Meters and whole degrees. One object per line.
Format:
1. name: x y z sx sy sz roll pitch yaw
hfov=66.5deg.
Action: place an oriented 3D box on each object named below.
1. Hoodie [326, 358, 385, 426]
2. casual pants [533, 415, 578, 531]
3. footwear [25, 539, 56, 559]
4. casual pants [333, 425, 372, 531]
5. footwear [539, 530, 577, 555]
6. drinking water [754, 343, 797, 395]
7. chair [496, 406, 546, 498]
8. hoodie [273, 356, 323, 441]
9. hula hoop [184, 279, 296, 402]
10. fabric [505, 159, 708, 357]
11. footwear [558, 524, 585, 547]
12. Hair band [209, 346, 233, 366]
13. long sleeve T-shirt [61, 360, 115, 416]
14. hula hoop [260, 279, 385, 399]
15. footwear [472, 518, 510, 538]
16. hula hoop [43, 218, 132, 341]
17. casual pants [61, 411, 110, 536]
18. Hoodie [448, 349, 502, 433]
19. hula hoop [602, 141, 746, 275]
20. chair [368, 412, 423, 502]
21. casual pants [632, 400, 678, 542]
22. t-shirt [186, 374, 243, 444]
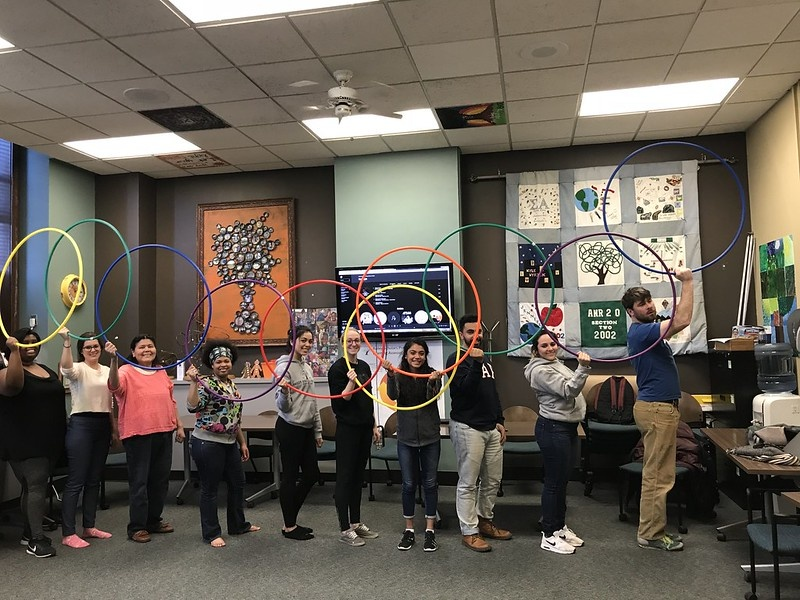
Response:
1. Hoodie: -0.379 0.774 5.196 0.321 0.610 0.525 -9 -8 33
2. casual pants: 1.268 1.417 4.954 0.327 0.982 0.298 -1 2 15
3. footwear: -3.015 2.089 5.168 0.308 0.126 0.111 1 -6 24
4. casual pants: -0.397 1.483 5.143 0.311 0.943 0.246 -3 3 -25
5. footwear: 1.271 1.970 4.957 0.265 0.124 0.124 1 0 13
6. drinking water: 3.345 0.591 5.460 0.306 0.404 0.761 0 3 31
7. chair: 1.297 1.540 6.266 0.650 0.935 0.692 -2 -16 18
8. hoodie: -0.866 0.864 5.247 0.429 0.783 0.394 -3 3 -29
9. hula hoop: -1.702 0.444 6.745 1.352 1.586 0.089 4 4 0
10. fabric: 2.327 -0.443 6.641 2.207 2.176 0.026 -2 -6 10
11. footwear: 1.408 1.927 5.031 0.178 0.060 0.136 9 4 40
12. Hair band: -1.492 0.466 5.156 0.140 0.158 0.191 4 -27 -21
13. long sleeve T-shirt: -2.742 0.777 5.404 0.213 0.353 0.661 -16 -15 11
14. hula hoop: -0.758 0.406 6.419 1.264 1.174 0.056 -17 -18 12
15. footwear: 0.785 1.952 5.229 0.353 0.153 0.122 -1 -4 4
16. hula hoop: -3.678 -0.218 7.204 1.260 1.287 1.176 -6 -7 -15
17. casual pants: -2.744 1.514 5.392 0.209 1.057 0.446 0 3 39
18. Hoodie: 0.605 0.761 4.959 0.370 0.622 0.339 -2 2 -2
19. hula hoop: 3.084 -0.971 6.753 1.390 1.424 1.348 2 -6 11
20. chair: -0.004 1.565 6.336 0.622 0.944 0.613 -1 -5 1
21. casual pants: 2.037 1.369 4.863 0.316 1.144 0.223 -1 3 21
22. t-shirt: -1.543 0.945 5.124 0.420 0.583 0.307 -3 3 -23
